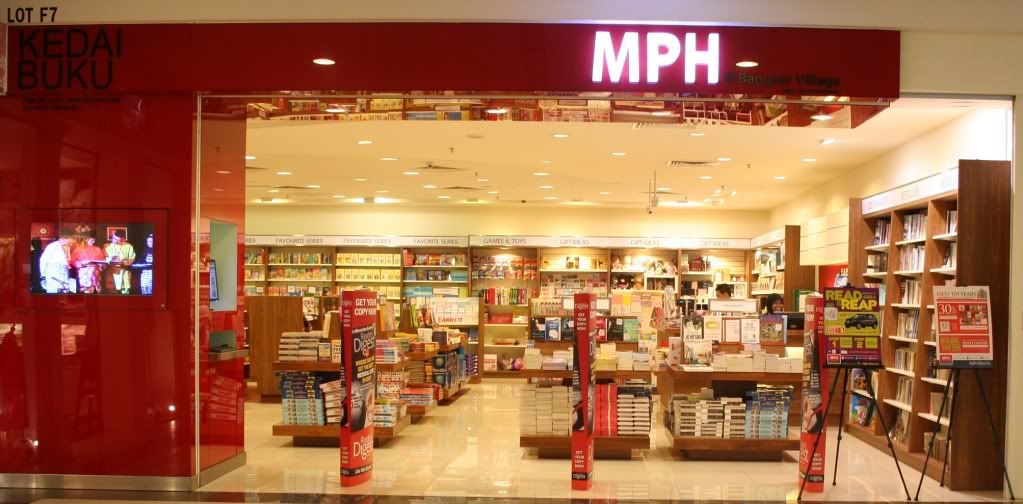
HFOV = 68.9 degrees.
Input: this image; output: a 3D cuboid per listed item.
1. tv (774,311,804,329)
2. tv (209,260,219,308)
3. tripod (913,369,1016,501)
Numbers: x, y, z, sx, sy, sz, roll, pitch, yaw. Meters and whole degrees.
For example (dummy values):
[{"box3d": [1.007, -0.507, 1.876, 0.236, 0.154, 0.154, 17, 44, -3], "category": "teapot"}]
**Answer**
[{"box3d": [5.546, 1.373, 14.815, 0.688, 0.387, 0.444, 1, 1, 11], "category": "tv"}, {"box3d": [-4.622, 0.486, 11.545, 0.123, 0.742, 0.179, -4, -5, 19], "category": "tv"}, {"box3d": [6.630, 2.634, 11.230, 1.310, 1.934, 1.318, 2, -6, -38], "category": "tripod"}]
